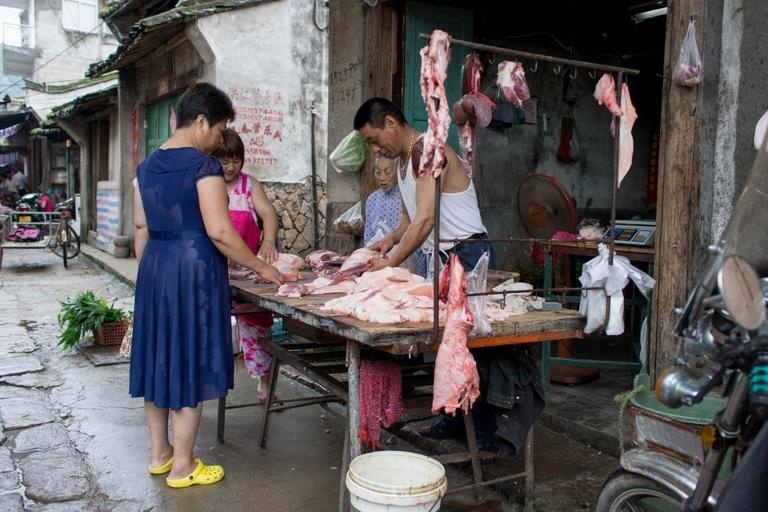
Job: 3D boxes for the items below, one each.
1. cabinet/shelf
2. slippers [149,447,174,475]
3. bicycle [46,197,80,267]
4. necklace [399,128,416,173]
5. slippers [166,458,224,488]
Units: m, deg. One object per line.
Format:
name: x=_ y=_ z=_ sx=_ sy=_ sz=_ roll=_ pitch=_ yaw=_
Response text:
cabinet/shelf: x=2.168 y=0.660 z=7.291 sx=1.341 sy=1.360 sz=0.993 roll=-2 pitch=1 yaw=8
slippers: x=-1.865 y=1.763 z=5.796 sx=0.119 sy=0.129 sz=0.317 roll=3 pitch=6 yaw=27
bicycle: x=-7.356 y=-0.543 z=15.486 sx=0.636 sy=0.899 sz=1.486 roll=15 pitch=-12 yaw=-7
necklace: x=0.221 y=-0.910 z=5.780 sx=0.115 sy=0.336 sz=0.242 roll=11 pitch=2 yaw=18
slippers: x=-1.583 y=1.783 z=5.641 sx=0.360 sy=0.159 sz=0.222 roll=-2 pitch=2 yaw=-29
